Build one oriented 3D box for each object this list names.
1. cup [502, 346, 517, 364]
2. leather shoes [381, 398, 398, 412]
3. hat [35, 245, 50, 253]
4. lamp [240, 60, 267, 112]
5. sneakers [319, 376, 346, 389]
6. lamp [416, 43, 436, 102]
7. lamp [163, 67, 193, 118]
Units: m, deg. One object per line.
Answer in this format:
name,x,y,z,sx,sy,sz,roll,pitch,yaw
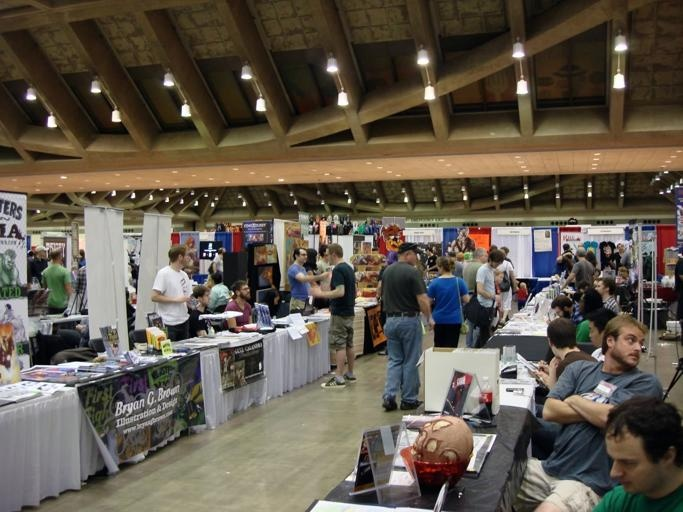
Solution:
cup,1.432,0.830,4.054,0.125,0.150,0.132,-2,0,0
leather shoes,0.559,1.729,5.528,0.147,0.081,0.154,1,-21,0
hat,-7.458,-0.191,11.853,0.376,0.194,0.461,1,-1,-15
lamp,-2.215,-4.353,11.987,0.280,1.550,0.623,-10,28,8
sneakers,-0.110,1.763,6.680,0.332,0.156,0.149,2,-5,4
lamp,1.881,-4.079,10.484,0.393,1.095,1.930,1,1,13
lamp,-4.341,-4.400,12.599,0.313,0.654,1.708,-11,-39,1
